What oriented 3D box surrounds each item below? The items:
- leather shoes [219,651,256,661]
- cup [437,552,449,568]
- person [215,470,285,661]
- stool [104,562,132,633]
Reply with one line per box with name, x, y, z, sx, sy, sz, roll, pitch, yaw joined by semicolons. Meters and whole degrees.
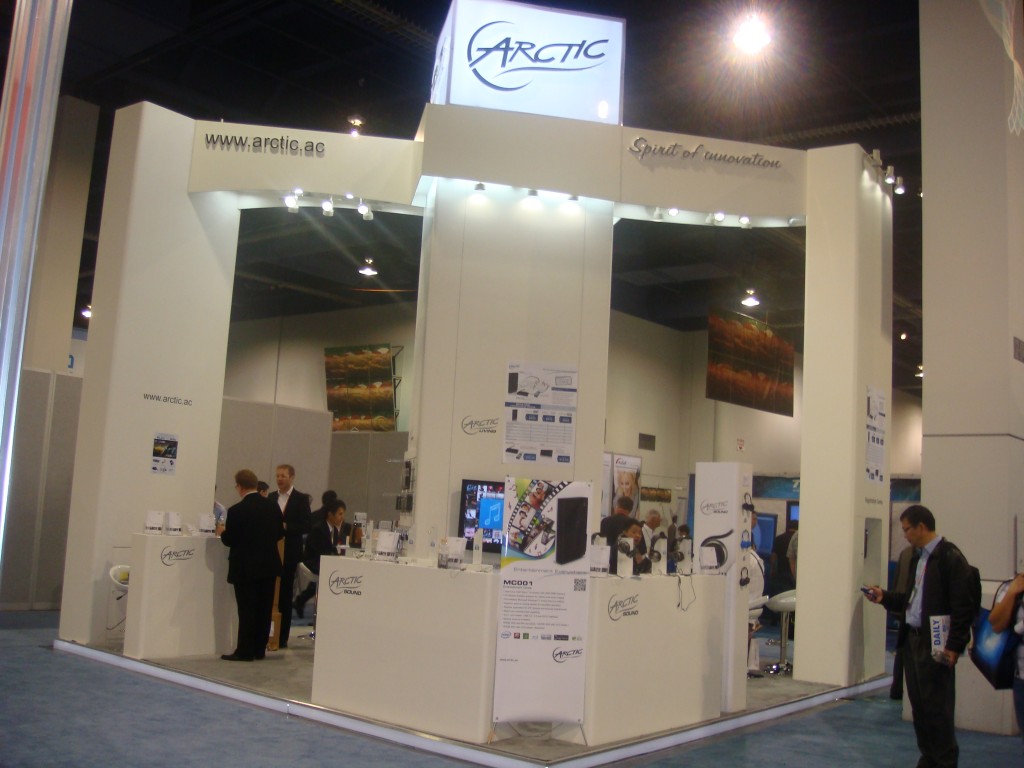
leather shoes;-2.356;2.318;7.131;0.294;0.092;0.183;4;-8;-6
cup;-0.456;1.137;5.390;0.097;0.095;0.054;-4;-10;42
person;-2.279;1.653;7.174;0.492;1.431;0.314;5;-8;-20
stool;-3.572;1.923;7.479;0.180;0.614;0.436;6;-8;-25
